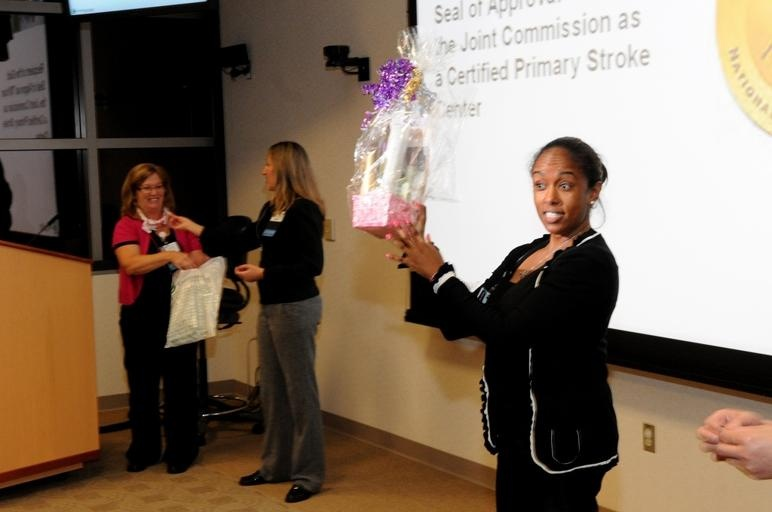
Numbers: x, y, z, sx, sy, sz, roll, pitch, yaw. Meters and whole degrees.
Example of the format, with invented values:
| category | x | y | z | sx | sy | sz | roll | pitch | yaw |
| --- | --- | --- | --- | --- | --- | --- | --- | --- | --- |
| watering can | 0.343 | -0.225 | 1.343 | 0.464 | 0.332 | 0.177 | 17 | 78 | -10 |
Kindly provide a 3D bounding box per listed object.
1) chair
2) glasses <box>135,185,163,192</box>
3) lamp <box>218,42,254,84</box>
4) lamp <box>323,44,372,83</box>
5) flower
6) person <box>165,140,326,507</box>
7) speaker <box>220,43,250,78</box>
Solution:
| category | x | y | z | sx | sy | sz | roll | pitch | yaw |
| --- | --- | --- | --- | --- | --- | --- | --- | --- | --- |
| chair | -1.203 | 0.533 | 4.891 | 0.772 | 1.602 | 0.799 | -10 | -12 | 8 |
| glasses | -1.579 | -0.448 | 4.065 | 0.073 | 0.023 | 0.073 | -8 | -6 | 39 |
| lamp | -1.296 | -1.659 | 5.208 | 0.295 | 0.301 | 0.083 | 0 | 22 | 12 |
| lamp | -0.260 | -1.340 | 4.253 | 0.328 | 0.250 | 0.225 | 0 | 2 | 2 |
| flower | 0.027 | -0.597 | 2.147 | 0.203 | 0.199 | 0.091 | 0 | 7 | 2 |
| person | -0.620 | 0.401 | 3.711 | 0.486 | 2.170 | 0.381 | 0 | 7 | -2 |
| speaker | -1.284 | -1.672 | 5.191 | 0.285 | 0.281 | 0.078 | 1 | 20 | 19 |
